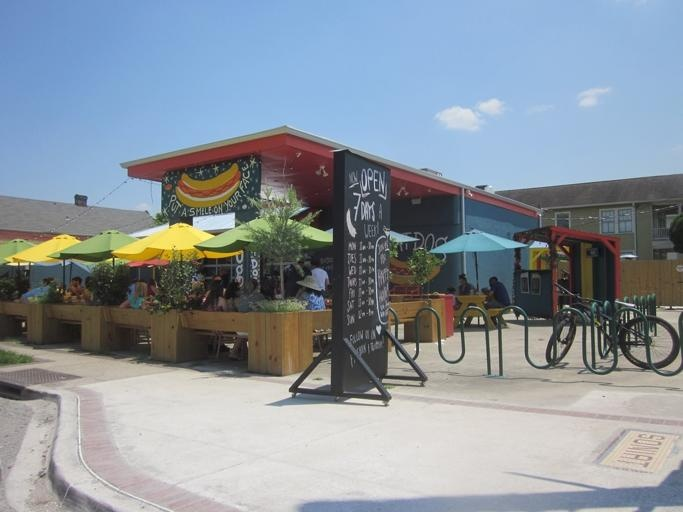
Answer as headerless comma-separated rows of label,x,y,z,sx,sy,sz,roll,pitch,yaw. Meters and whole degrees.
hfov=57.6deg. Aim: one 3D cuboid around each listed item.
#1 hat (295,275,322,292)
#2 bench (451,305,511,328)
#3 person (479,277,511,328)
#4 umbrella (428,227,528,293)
hat,-0.590,0.516,11.487,0.381,0.300,0.820,0,-2,-3
bench,3.277,1.444,14.704,1.150,0.501,1.150,-2,-3,23
person,4.131,1.214,16.609,0.811,1.383,0.589,1,-6,32
umbrella,3.792,-0.102,17.698,2.135,1.385,2.153,-6,-2,28
